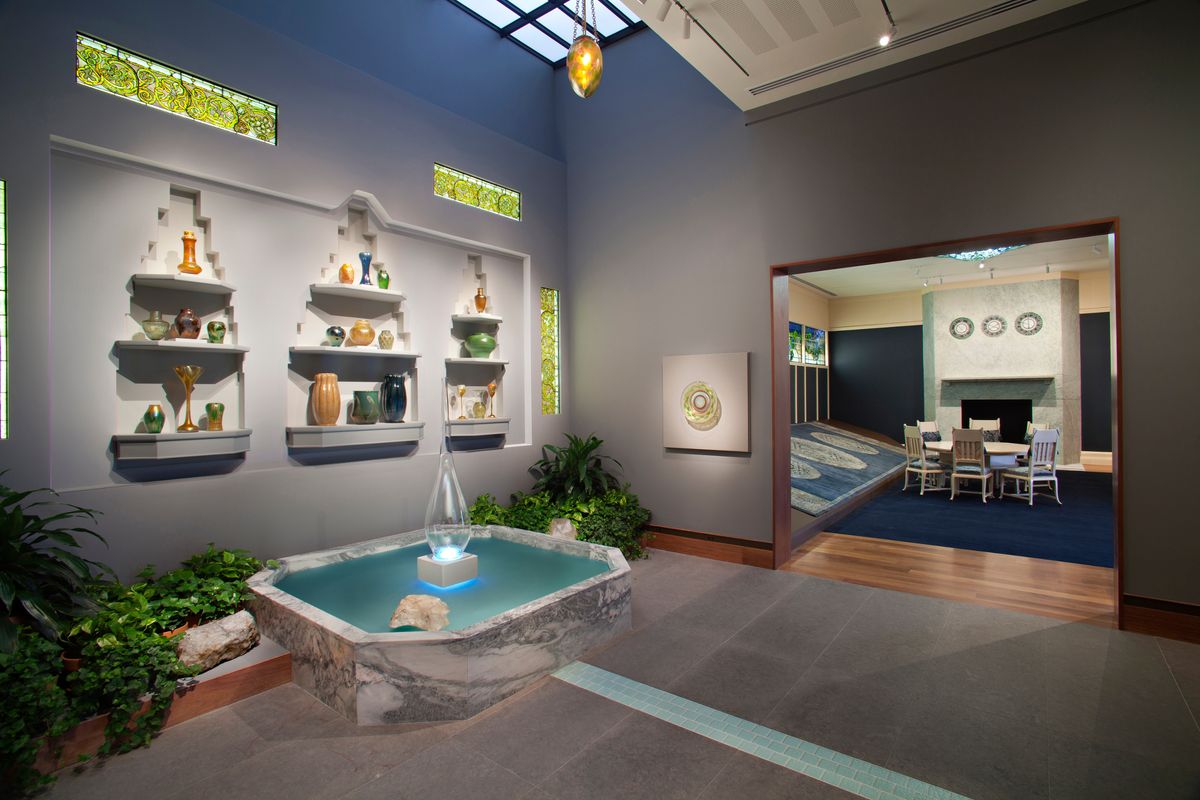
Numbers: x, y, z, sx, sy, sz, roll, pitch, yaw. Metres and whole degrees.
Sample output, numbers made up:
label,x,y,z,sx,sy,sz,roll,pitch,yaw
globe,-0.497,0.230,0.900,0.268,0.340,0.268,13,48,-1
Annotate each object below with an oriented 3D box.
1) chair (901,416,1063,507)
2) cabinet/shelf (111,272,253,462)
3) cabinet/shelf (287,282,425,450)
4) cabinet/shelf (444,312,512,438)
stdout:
label,x,y,z,sx,sy,sz,roll,pitch,yaw
chair,5.357,0.969,9.758,1.419,0.741,1.450,-2,2,21
cabinet/shelf,-3.383,-0.296,5.692,0.949,1.499,0.478,-1,5,-43
cabinet/shelf,-2.272,-0.320,6.642,1.255,1.724,0.448,2,-20,-39
cabinet/shelf,-1.318,-0.206,7.580,0.803,1.476,0.532,-1,13,-23
